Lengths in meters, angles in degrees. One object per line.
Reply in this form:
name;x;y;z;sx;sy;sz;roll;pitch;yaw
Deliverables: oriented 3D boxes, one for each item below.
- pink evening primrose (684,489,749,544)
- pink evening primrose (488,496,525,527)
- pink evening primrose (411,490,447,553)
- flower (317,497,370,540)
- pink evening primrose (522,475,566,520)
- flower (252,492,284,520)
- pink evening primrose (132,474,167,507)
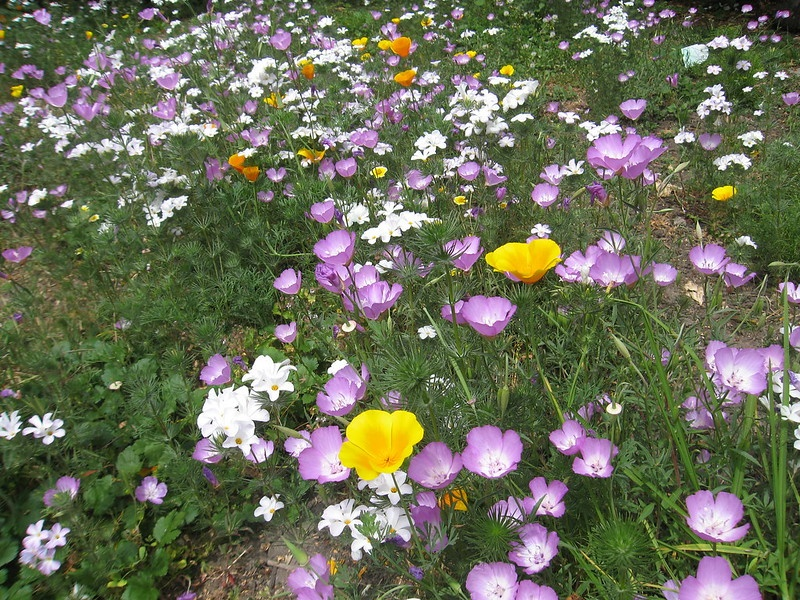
pink evening primrose;1.254;0.891;2.442;0.190;0.215;0.121;-9;87;-24
pink evening primrose;0.458;0.899;2.627;0.152;0.200;0.160;-2;55;8
pink evening primrose;0.129;0.957;2.632;0.153;0.078;0.222;-25;69;5
flower;-0.253;0.979;2.732;0.191;0.073;0.188;-35;37;-11
pink evening primrose;0.623;0.853;2.619;0.159;0.088;0.181;7;55;29
flower;-0.659;1.061;3.132;0.139;0.051;0.166;-14;48;4
pink evening primrose;-1.352;1.039;3.311;0.177;0.149;0.132;10;58;15
